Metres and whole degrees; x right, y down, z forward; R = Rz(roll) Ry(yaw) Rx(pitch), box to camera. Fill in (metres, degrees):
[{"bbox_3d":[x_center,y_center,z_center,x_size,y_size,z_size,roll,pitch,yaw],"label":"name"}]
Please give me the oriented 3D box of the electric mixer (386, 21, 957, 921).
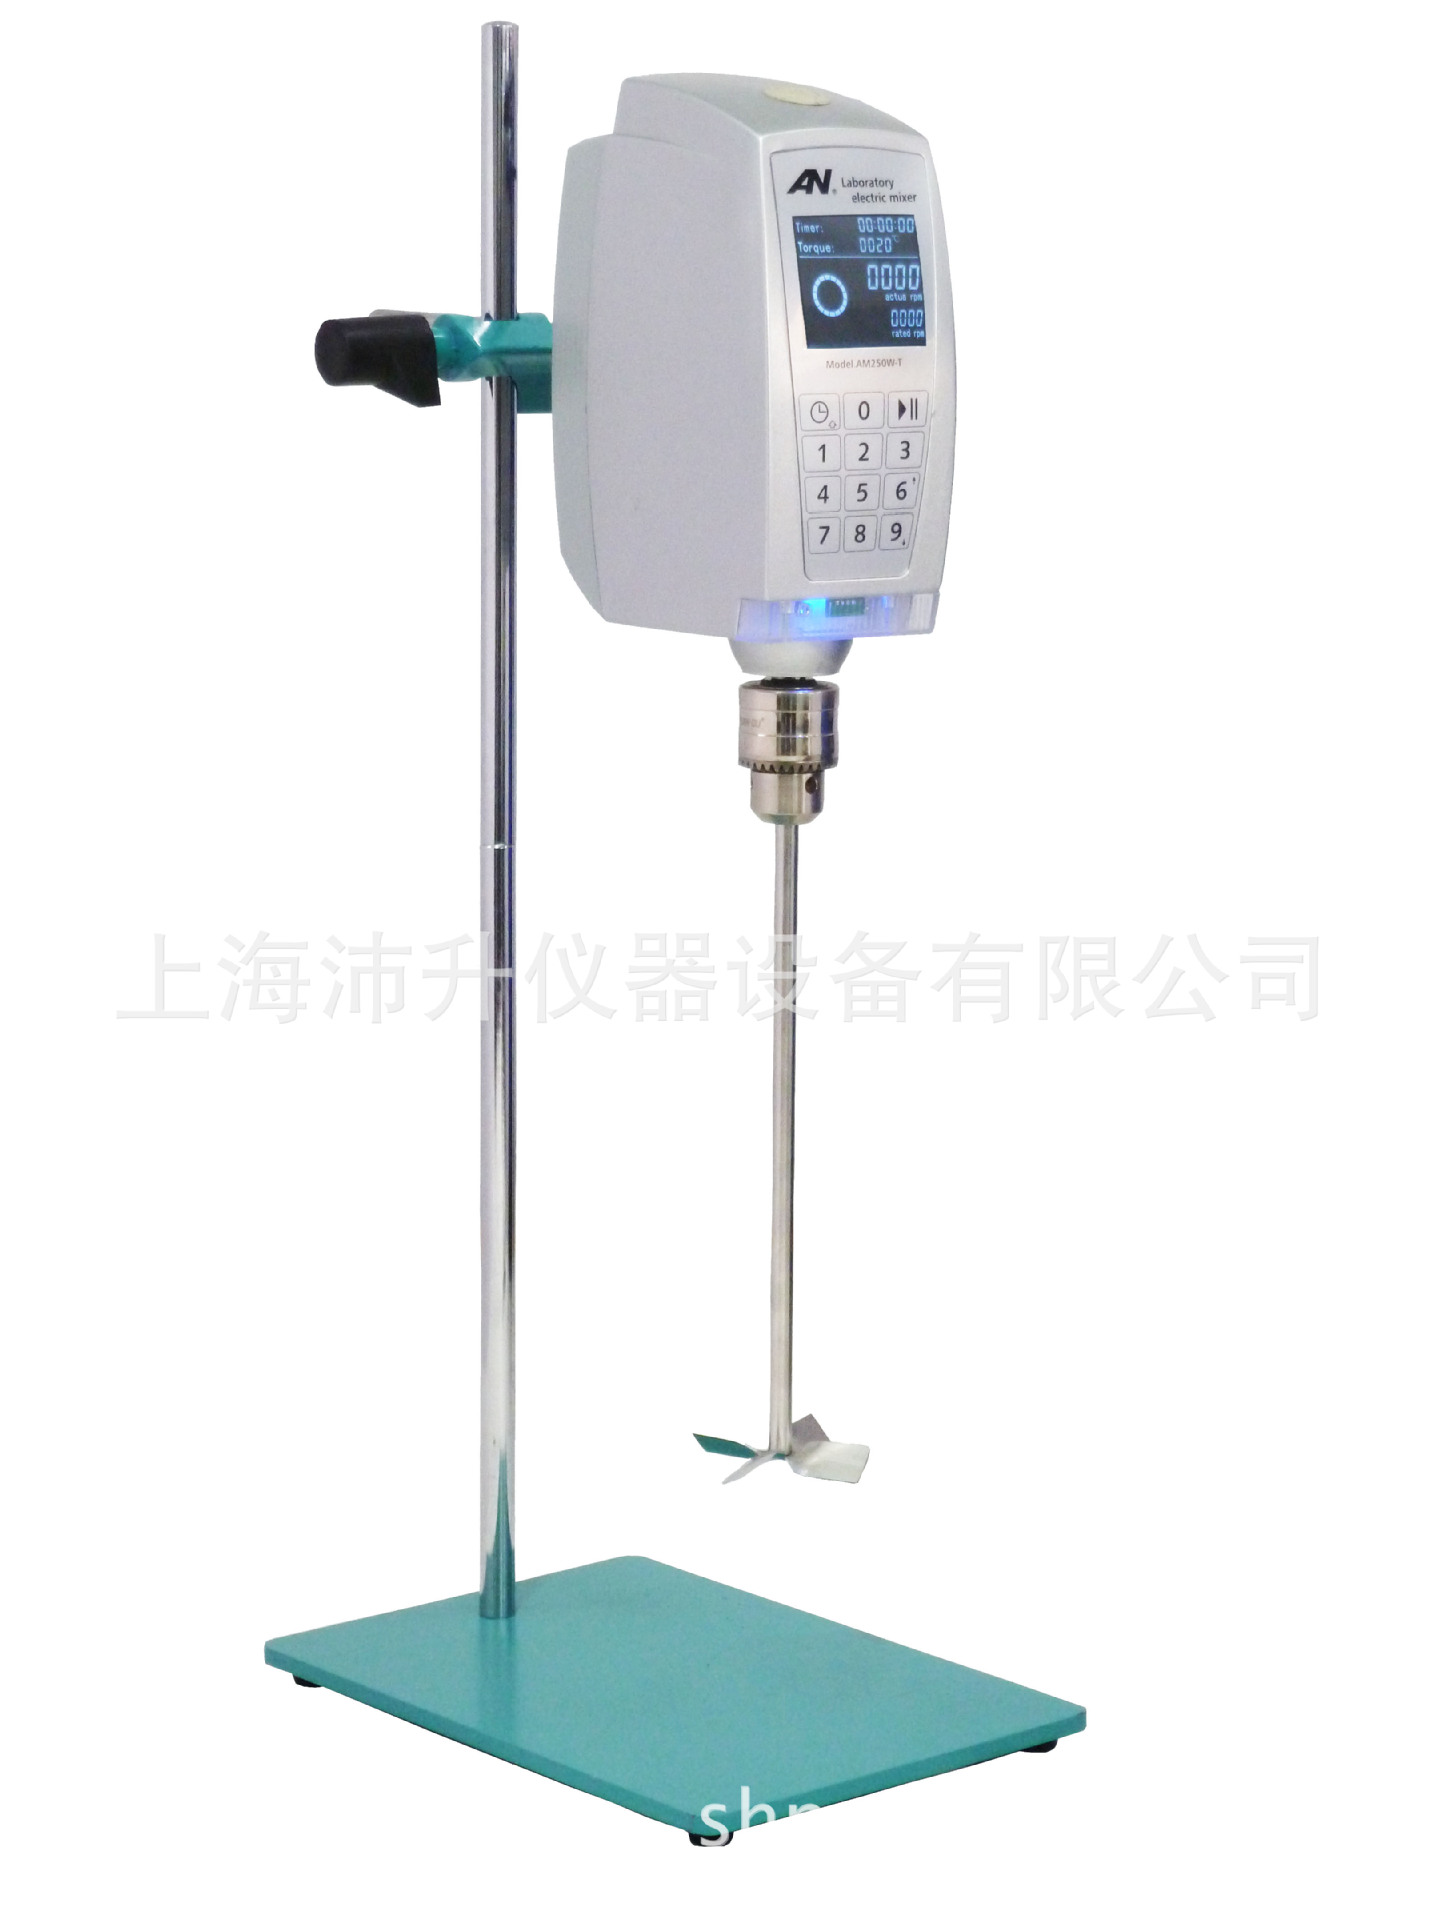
[{"bbox_3d":[0.012,-0.315,1.424,0.227,0.423,0.266,11,-15,-41],"label":"electric mixer"}]
